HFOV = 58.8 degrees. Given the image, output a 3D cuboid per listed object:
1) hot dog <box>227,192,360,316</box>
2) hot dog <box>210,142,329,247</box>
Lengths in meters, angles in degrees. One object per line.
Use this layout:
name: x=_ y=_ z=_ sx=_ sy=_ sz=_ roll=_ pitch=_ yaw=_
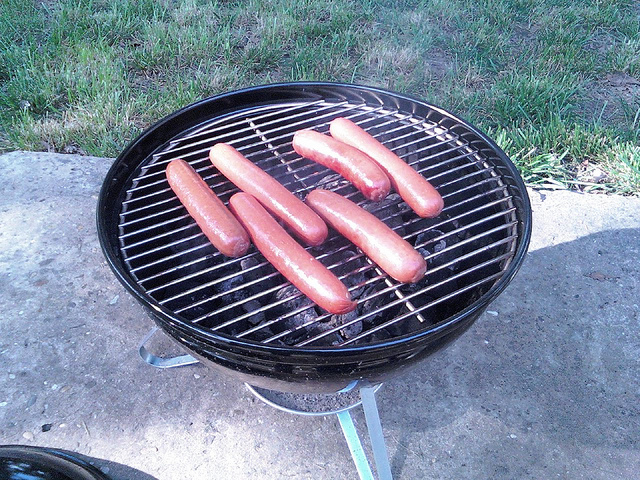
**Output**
hot dog: x=-0.128 y=0.065 z=2.641 sx=0.141 sy=0.149 sz=0.693 roll=-40 pitch=66 yaw=-10
hot dog: x=-0.248 y=-0.211 z=2.759 sx=0.131 sy=0.138 sz=0.657 roll=-37 pitch=68 yaw=-22
